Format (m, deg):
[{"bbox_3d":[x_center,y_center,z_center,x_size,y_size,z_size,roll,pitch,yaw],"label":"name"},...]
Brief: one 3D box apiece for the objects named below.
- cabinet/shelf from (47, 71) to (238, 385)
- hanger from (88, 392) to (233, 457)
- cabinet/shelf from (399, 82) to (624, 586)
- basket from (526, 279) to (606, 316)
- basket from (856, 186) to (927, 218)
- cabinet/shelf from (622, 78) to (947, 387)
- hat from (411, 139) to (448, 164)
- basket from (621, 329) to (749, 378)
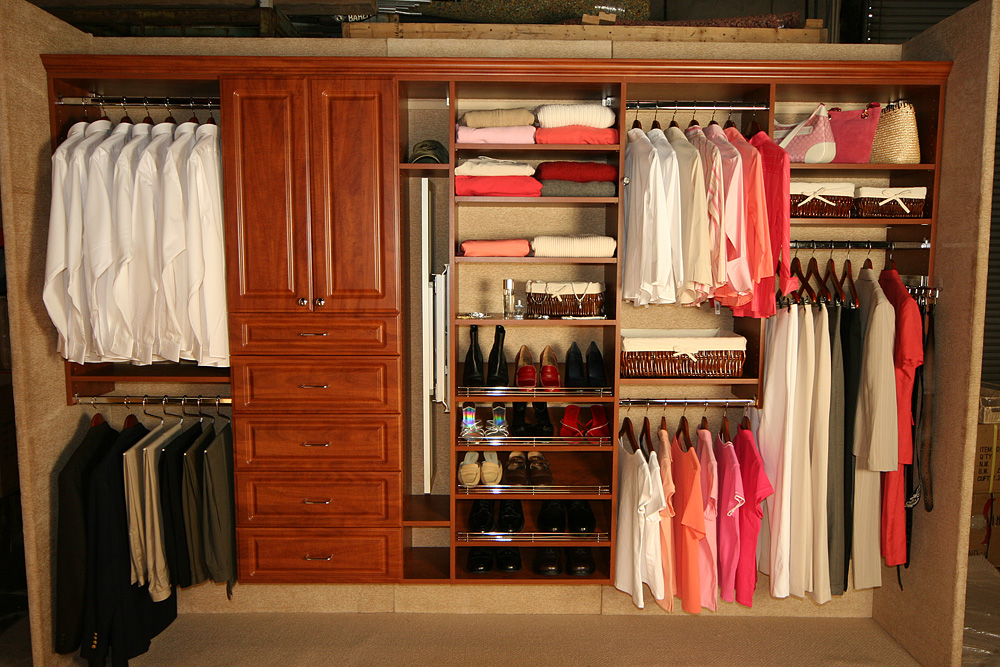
[{"bbox_3d":[-1.945,-0.575,5.804,0.915,1.636,0.526,-2,4,-14],"label":"cabinet/shelf"},{"bbox_3d":[-1.888,0.429,5.976,0.801,0.216,0.431,-2,3,-13],"label":"hanger"},{"bbox_3d":[0.219,-0.497,6.034,0.977,2.089,0.525,-1,-19,6],"label":"cabinet/shelf"},{"bbox_3d":[0.357,-0.180,5.866,0.417,0.197,0.163,-1,3,2],"label":"basket"},{"bbox_3d":[2.108,-0.700,5.824,0.353,0.160,0.081,0,4,16],"label":"basket"},{"bbox_3d":[1.533,-0.544,5.783,1.734,1.545,0.545,-1,4,0],"label":"cabinet/shelf"},{"bbox_3d":[-0.377,-0.975,5.818,0.206,0.128,0.110,-1,3,-4],"label":"hat"},{"bbox_3d":[1.002,0.134,5.933,0.461,0.144,0.328,-1,7,-1],"label":"basket"}]
